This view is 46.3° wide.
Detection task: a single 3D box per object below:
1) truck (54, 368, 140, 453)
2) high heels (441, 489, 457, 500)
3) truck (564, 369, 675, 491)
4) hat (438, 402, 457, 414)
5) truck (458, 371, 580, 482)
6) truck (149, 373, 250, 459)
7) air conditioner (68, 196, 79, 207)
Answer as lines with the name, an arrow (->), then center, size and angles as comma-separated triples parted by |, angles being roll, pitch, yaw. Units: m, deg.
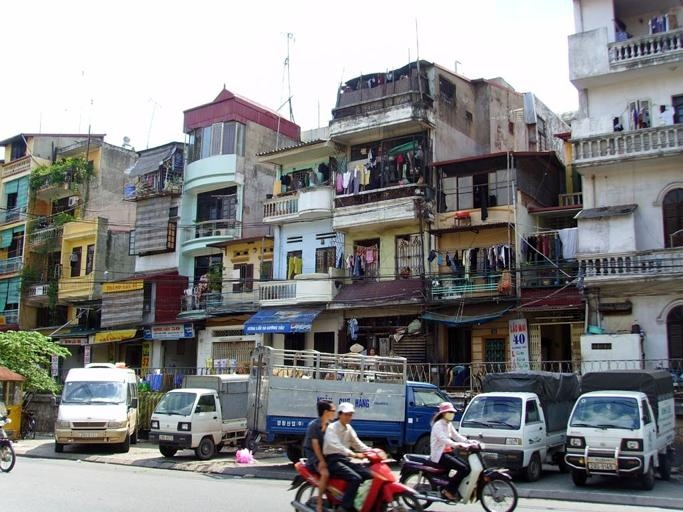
truck -> -8.453, 5.202, 27.605 | 1.941, 1.802, 3.803 | 0, -12, -9
high heels -> 2.486, 5.511, 18.371 | 0.356, 0.142, 0.141 | 11, -10, -10
truck -> 7.810, 4.914, 22.878 | 2.233, 2.515, 4.208 | -8, -17, 32
hat -> 2.586, 3.624, 19.058 | 0.496, 0.234, 0.474 | 0, -4, -20
truck -> 5.147, 4.906, 23.949 | 2.179, 2.429, 4.061 | -8, -14, 35
truck -> -4.767, 5.451, 27.388 | 1.621, 2.916, 3.310 | -10, -16, 37
air conditioner -> -16.420, -3.359, 48.919 | 0.575, 0.551, 0.424 | -7, -19, 16
